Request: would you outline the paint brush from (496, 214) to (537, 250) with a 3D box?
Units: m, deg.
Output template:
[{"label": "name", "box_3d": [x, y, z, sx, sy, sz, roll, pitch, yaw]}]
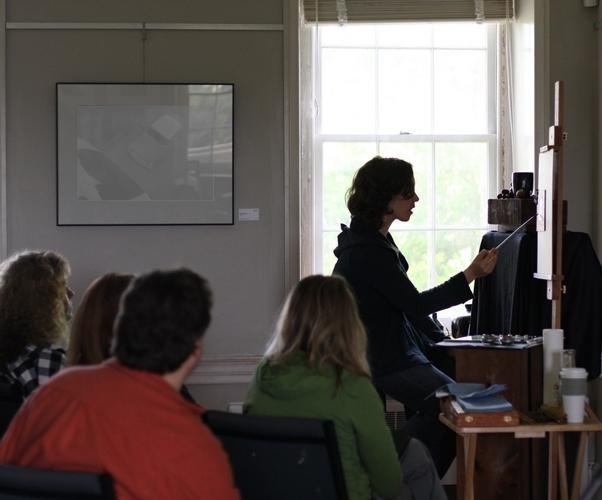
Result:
[{"label": "paint brush", "box_3d": [1.019, -0.086, 2.977, 0.027, 0.210, 0.021, 44, 24, 27]}]

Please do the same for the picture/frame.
[{"label": "picture/frame", "box_3d": [-0.901, -0.569, 3.687, 1.010, 0.909, 0.022, -3, 27, -20]}]

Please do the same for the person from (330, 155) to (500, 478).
[{"label": "person", "box_3d": [0.460, 0.350, 2.759, 0.609, 1.442, 0.444, 1, 6, 17]}]

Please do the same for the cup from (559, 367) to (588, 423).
[{"label": "cup", "box_3d": [0.906, 0.481, 2.107, 0.081, 0.179, 0.054, -2, 1, 19]}]
